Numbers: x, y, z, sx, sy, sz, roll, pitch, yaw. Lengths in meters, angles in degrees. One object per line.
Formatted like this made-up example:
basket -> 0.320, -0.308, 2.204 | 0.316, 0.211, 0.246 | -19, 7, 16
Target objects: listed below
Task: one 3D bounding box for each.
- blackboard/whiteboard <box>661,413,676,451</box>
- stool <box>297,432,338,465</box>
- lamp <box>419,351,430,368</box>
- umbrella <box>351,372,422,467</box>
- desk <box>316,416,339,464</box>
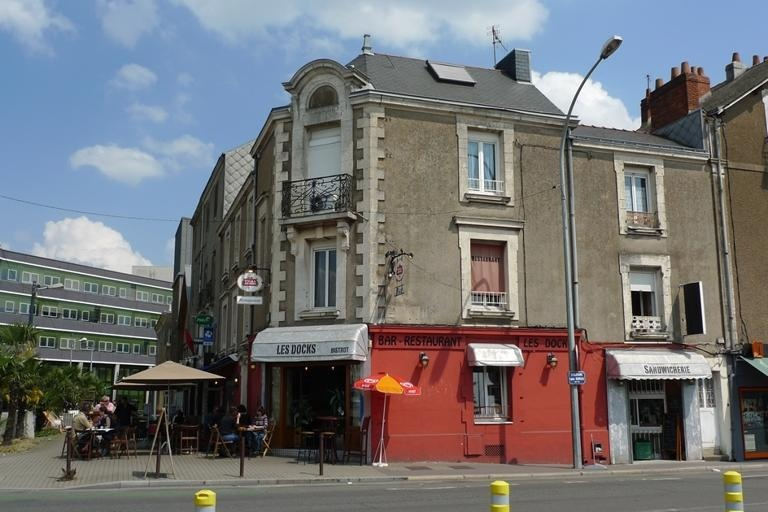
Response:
blackboard/whiteboard -> 11.753, 7.206, 34.638 | 0.555, 1.559, 0.231 | 3, -16, -9
stool -> -2.582, 7.429, 32.439 | 1.484, 0.994, 1.418 | 7, -9, -40
lamp -> 1.582, 4.023, 32.742 | 0.421, 0.604, 0.250 | 1, -16, -3
umbrella -> 0.061, 6.312, 32.042 | 3.083, 3.569, 3.061 | 12, -26, -22
desk -> -2.076, 7.069, 32.511 | 1.369, 1.601, 1.504 | 0, -20, -5
